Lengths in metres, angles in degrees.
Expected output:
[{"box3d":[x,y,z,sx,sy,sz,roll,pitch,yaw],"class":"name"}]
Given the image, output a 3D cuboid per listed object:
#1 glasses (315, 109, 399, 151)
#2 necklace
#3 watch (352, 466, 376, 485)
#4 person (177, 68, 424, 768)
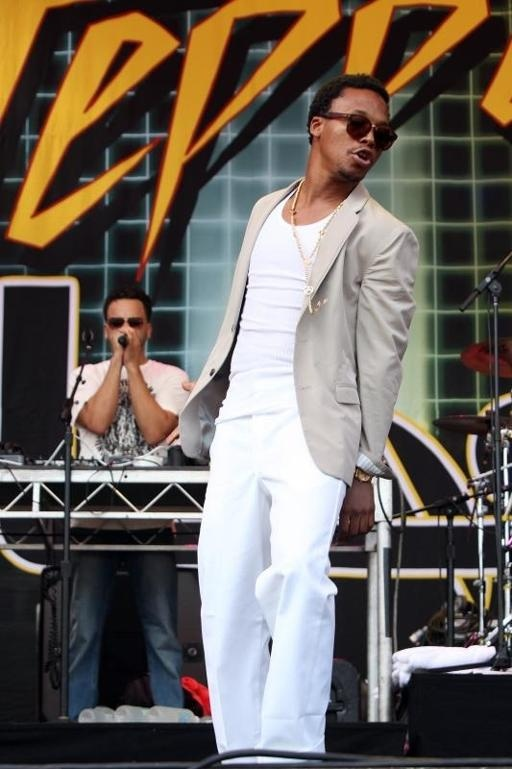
[{"box3d":[0.301,-0.756,4.954,0.134,0.053,0.140,20,-5,-28],"class":"glasses"},{"box3d":[0.145,-0.407,4.902,0.109,0.414,0.031,-10,-35,24],"class":"necklace"},{"box3d":[0.304,0.266,4.794,0.038,0.025,0.051,24,-4,17],"class":"watch"},{"box3d":[0.099,0.057,4.909,0.515,2.032,0.631,9,-7,-40],"class":"person"}]
